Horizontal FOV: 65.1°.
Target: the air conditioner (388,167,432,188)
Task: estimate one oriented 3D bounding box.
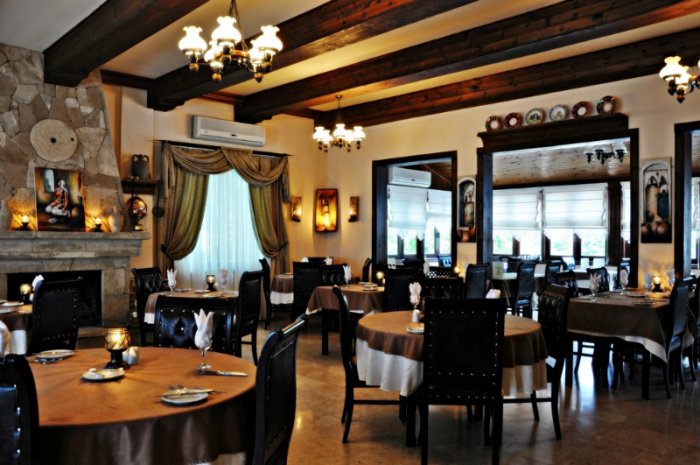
[{"bbox_3d":[1.482,-1.467,14.236,0.251,0.516,1.930,0,-3,38],"label":"air conditioner"}]

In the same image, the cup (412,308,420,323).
[{"bbox_3d":[0.699,0.893,5.916,0.133,0.130,0.083,0,-1,-3],"label":"cup"}]

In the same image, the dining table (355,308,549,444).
[{"bbox_3d":[1.107,1.410,6.052,2.004,0.732,1.966,1,-1,-27],"label":"dining table"}]

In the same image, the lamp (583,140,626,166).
[{"bbox_3d":[5.375,-1.690,11.613,0.740,0.358,0.901,2,-6,-13],"label":"lamp"}]

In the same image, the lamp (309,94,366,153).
[{"bbox_3d":[-0.212,-1.917,9.488,0.896,0.865,0.883,-1,5,6],"label":"lamp"}]

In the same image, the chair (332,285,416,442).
[{"bbox_3d":[0.252,1.372,6.153,0.940,1.571,0.907,0,-3,1],"label":"chair"}]

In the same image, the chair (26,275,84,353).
[{"bbox_3d":[-3.516,1.004,6.353,0.652,0.979,0.673,2,8,-26],"label":"chair"}]
